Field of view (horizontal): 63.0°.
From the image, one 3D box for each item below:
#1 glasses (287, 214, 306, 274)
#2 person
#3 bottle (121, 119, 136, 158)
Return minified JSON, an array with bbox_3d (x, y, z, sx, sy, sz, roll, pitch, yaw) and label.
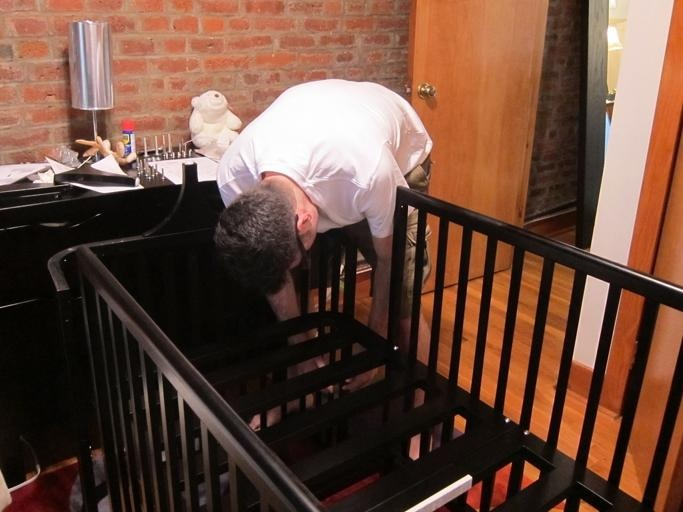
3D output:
[{"bbox_3d":[-0.125,-0.033,1.622,0.083,0.148,0.074,-5,-15,-13],"label":"glasses"},{"bbox_3d":[-0.008,-0.096,1.922,0.858,0.935,0.695,-10,21,-16],"label":"person"},{"bbox_3d":[-0.947,-0.529,2.484,0.059,0.146,0.135,-10,22,-19],"label":"bottle"}]
